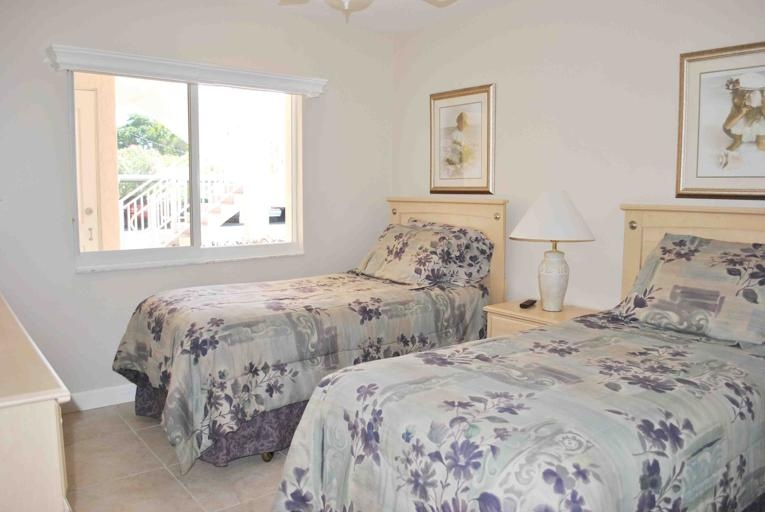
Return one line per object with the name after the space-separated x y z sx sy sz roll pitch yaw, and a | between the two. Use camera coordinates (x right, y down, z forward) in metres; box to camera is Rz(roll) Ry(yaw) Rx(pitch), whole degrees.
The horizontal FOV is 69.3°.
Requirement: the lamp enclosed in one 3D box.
1.177 -0.062 4.150 0.749 1.009 0.752 2 6 12 | lamp

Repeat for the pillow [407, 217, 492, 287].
0.398 0.015 4.555 0.644 0.244 0.814 9 24 -17 | pillow

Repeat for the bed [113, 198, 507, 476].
-0.456 0.348 4.185 2.590 1.460 1.642 -5 10 -37 | bed
